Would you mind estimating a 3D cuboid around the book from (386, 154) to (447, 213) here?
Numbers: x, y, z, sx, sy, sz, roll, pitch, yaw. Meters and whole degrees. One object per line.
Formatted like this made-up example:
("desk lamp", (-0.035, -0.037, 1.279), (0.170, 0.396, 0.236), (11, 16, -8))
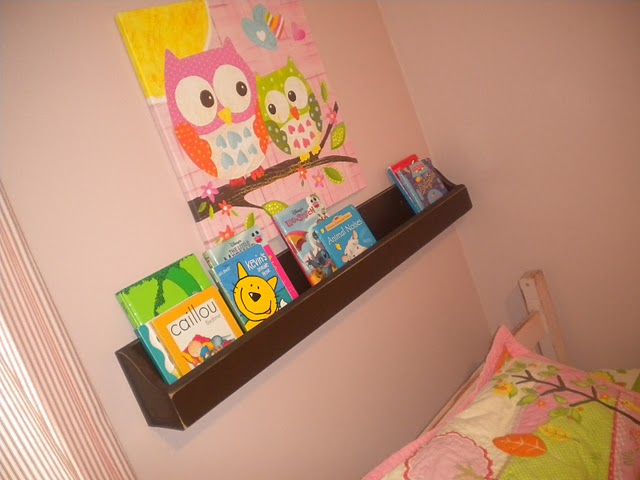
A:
("book", (0.444, -0.260, 1.953), (0.264, 0.207, 0.129), (-31, 20, -35))
